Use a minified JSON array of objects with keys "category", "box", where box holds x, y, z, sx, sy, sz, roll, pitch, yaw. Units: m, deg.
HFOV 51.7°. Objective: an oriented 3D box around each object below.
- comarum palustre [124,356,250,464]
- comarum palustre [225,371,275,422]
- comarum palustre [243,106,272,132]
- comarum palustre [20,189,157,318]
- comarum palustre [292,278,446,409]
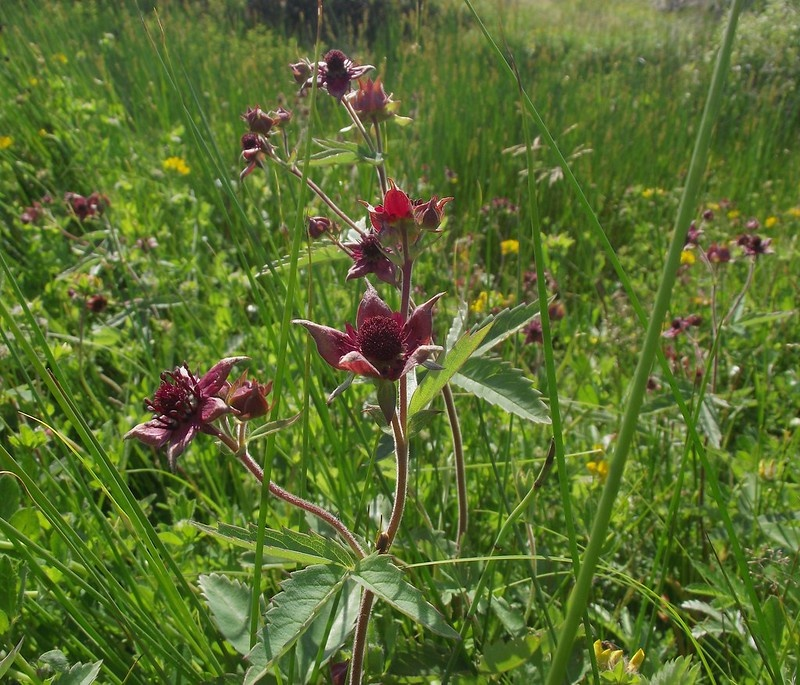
[{"category":"comarum palustre","box":[-0.662,0.191,2.529,0.322,0.189,0.403,6,47,31]},{"category":"comarum palustre","box":[-0.476,0.195,2.631,0.117,0.164,0.147,11,26,14]},{"category":"comarum palustre","box":[-0.578,-0.933,3.363,0.082,0.090,0.134,-9,78,14]},{"category":"comarum palustre","box":[-1.432,-0.422,4.046,0.479,0.809,0.364,10,74,15]},{"category":"comarum palustre","box":[-0.085,0.002,2.548,0.358,0.179,0.364,-33,59,-30]}]
